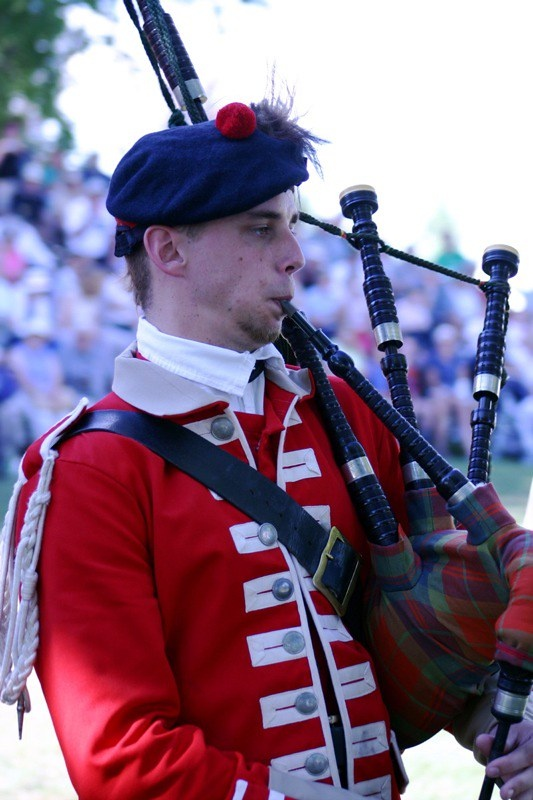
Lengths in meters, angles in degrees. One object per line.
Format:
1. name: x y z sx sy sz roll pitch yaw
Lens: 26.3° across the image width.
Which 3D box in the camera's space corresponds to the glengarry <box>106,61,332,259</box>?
1. glengarry: -0.107 -0.432 2.213 0.436 0.195 0.316 -23 -2 9
